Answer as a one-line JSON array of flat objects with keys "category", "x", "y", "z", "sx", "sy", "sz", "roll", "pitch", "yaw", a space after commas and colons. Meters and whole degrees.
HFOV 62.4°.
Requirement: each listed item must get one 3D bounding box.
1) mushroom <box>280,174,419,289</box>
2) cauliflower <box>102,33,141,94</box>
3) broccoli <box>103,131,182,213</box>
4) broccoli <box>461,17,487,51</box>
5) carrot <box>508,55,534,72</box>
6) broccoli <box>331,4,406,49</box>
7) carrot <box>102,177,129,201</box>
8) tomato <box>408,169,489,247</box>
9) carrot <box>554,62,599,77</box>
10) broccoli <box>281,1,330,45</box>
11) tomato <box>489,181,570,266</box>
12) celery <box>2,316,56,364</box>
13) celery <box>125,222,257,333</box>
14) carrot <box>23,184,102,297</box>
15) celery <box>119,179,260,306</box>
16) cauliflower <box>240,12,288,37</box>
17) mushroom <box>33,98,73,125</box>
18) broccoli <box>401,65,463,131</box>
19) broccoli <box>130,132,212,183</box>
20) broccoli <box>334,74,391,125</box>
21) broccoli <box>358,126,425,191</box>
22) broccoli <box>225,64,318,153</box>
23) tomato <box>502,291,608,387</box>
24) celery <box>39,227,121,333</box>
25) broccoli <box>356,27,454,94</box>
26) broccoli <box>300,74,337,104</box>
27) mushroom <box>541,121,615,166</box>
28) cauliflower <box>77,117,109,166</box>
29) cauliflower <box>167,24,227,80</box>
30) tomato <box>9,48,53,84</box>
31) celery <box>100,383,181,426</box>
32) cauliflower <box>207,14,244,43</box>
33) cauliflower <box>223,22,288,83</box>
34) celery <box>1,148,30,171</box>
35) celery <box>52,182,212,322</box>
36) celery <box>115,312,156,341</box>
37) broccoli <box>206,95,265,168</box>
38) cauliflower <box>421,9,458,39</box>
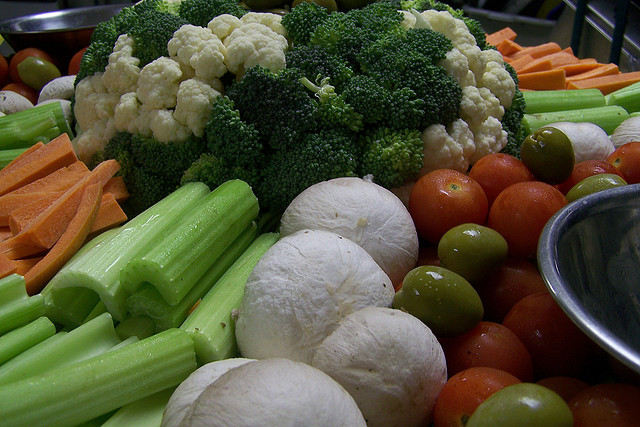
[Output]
[{"category": "mushroom", "x": 0.144, "y": 0.028, "z": 2.245, "sx": 0.469, "sy": 0.465, "sz": 0.274, "roll": 31, "pitch": 89, "yaw": 40}, {"category": "cauliflower", "x": -0.979, "y": -0.728, "z": 2.620, "sx": 0.178, "sy": 0.302, "sz": 0.120, "roll": -2, "pitch": -5, "yaw": 1}, {"category": "broccoli", "x": -0.939, "y": -0.160, "z": 2.788, "sx": 0.410, "sy": 0.243, "sz": 0.502, "roll": 21, "pitch": -8, "yaw": -16}, {"category": "broccoli", "x": 0.839, "y": -0.965, "z": 2.901, "sx": 0.066, "sy": 0.172, "sz": 0.136, "roll": -30, "pitch": 62, "yaw": -20}, {"category": "carrot", "x": 1.478, "y": -1.114, "z": 3.891, "sx": 0.185, "sy": 0.052, "sz": 0.176, "roll": -36, "pitch": 30, "yaw": -10}, {"category": "broccoli", "x": 0.252, "y": -0.933, "z": 2.661, "sx": 0.287, "sy": 0.152, "sz": 0.263, "roll": 17, "pitch": 14, "yaw": 34}, {"category": "carrot", "x": -1.013, "y": -0.124, "z": 2.641, "sx": 0.111, "sy": 0.031, "sz": 0.116, "roll": -2, "pitch": 61, "yaw": -44}, {"category": "tomato", "x": 0.525, "y": -0.073, "z": 2.331, "sx": 0.314, "sy": 0.334, "sz": 0.324, "roll": -7, "pitch": 13, "yaw": -38}, {"category": "carrot", "x": 1.887, "y": -1.059, "z": 3.882, "sx": 0.173, "sy": 0.054, "sz": 0.155, "roll": -31, "pitch": 14, "yaw": -26}, {"category": "broccoli", "x": -0.072, "y": -0.937, "z": 2.624, "sx": 0.203, "sy": 0.119, "sz": 0.202, "roll": -34, "pitch": 43, "yaw": 2}, {"category": "tomato", "x": 0.817, "y": 0.043, "z": 2.307, "sx": 0.318, "sy": 0.401, "sz": 0.327, "roll": 1, "pitch": 2, "yaw": -15}, {"category": "celery", "x": -1.099, "y": 0.463, "z": 2.085, "sx": 0.075, "sy": 0.089, "sz": 0.272, "roll": 34, "pitch": 40, "yaw": 21}, {"category": "celery", "x": -0.535, "y": 0.290, "z": 2.323, "sx": 0.211, "sy": 0.178, "sz": 0.651, "roll": 29, "pitch": 55, "yaw": 14}, {"category": "carrot", "x": -1.092, "y": 0.127, "z": 2.252, "sx": 0.120, "sy": 0.158, "sz": 0.548, "roll": 9, "pitch": 57, "yaw": 31}, {"category": "celery", "x": -0.537, "y": 0.124, "z": 2.317, "sx": 0.277, "sy": 0.244, "sz": 0.675, "roll": 27, "pitch": 45, "yaw": 12}, {"category": "cauliflower", "x": -0.268, "y": -0.957, "z": 2.616, "sx": 0.149, "sy": 0.059, "sz": 0.145, "roll": 16, "pitch": 34, "yaw": 1}, {"category": "mushroom", "x": -1.557, "y": -0.641, "z": 3.221, "sx": 0.203, "sy": 0.135, "sz": 0.232, "roll": -4, "pitch": -3, "yaw": 2}, {"category": "broccoli", "x": 0.553, "y": -0.580, "z": 2.502, "sx": 0.242, "sy": 0.165, "sz": 0.318, "roll": -33, "pitch": 79, "yaw": -31}, {"category": "broccoli", "x": -0.741, "y": -0.290, "z": 2.619, "sx": 0.295, "sy": 0.167, "sz": 0.234, "roll": 5, "pitch": 26, "yaw": 21}, {"category": "broccoli", "x": 0.208, "y": -0.575, "z": 2.554, "sx": 0.333, "sy": 0.192, "sz": 0.259, "roll": -3, "pitch": 20, "yaw": -40}, {"category": "broccoli", "x": 0.371, "y": -0.282, "z": 2.539, "sx": 0.208, "sy": 0.317, "sz": 0.375, "roll": -2, "pitch": 71, "yaw": 17}, {"category": "broccoli", "x": -0.206, "y": -0.498, "z": 2.417, "sx": 0.397, "sy": 0.217, "sz": 0.358, "roll": 27, "pitch": 6, "yaw": 18}, {"category": "tomato", "x": 0.946, "y": 0.454, "z": 2.079, "sx": 0.295, "sy": 0.366, "sz": 0.303, "roll": -25, "pitch": -5, "yaw": 19}, {"category": "celery", "x": -0.978, "y": 0.214, "z": 2.397, "sx": 0.287, "sy": 0.241, "sz": 0.668, "roll": 14, "pitch": 22, "yaw": -11}, {"category": "broccoli", "x": 0.410, "y": -0.783, "z": 2.532, "sx": 0.376, "sy": 0.151, "sz": 0.323, "roll": -46, "pitch": 51, "yaw": -6}, {"category": "broccoli", "x": -0.002, "y": -0.563, "z": 2.462, "sx": 0.148, "sy": 0.083, "sz": 0.111, "roll": 34, "pitch": 66, "yaw": 17}, {"category": "mushroom", "x": 1.362, "y": -0.388, "z": 2.777, "sx": 0.297, "sy": 0.189, "sz": 0.252, "roll": 2, "pitch": 5, "yaw": 22}, {"category": "cauliflower", "x": -1.189, "y": -0.374, "z": 2.761, "sx": 0.100, "sy": 0.184, "sz": 0.235, "roll": 24, "pitch": 67, "yaw": -12}, {"category": "cauliflower", "x": -0.576, "y": -0.771, "z": 2.507, "sx": 0.278, "sy": 0.224, "sz": 0.103, "roll": 37, "pitch": 28, "yaw": 19}, {"category": "tomato", "x": -2.152, "y": -1.082, "z": 3.942, "sx": 0.262, "sy": 0.269, "sz": 0.261, "roll": 16, "pitch": 12, "yaw": -17}, {"category": "celery", "x": -0.656, "y": 0.733, "z": 1.953, "sx": 0.081, "sy": 0.053, "sz": 0.351, "roll": 59, "pitch": 24, "yaw": 4}, {"category": "cauliflower", "x": -0.459, "y": -0.926, "z": 2.575, "sx": 0.124, "sy": 0.049, "sz": 0.126, "roll": -28, "pitch": 50, "yaw": -10}, {"category": "cauliflower", "x": -0.299, "y": -0.766, "z": 2.574, "sx": 0.262, "sy": 0.108, "sz": 0.280, "roll": -15, "pitch": 77, "yaw": 5}, {"category": "celery", "x": -1.530, "y": -0.270, "z": 2.664, "sx": 0.033, "sy": 0.038, "sz": 0.150, "roll": 11, "pitch": 40, "yaw": 42}, {"category": "celery", "x": -0.770, "y": 0.123, "z": 2.331, "sx": 0.335, "sy": 0.190, "sz": 0.638, "roll": 14, "pitch": 40, "yaw": 22}, {"category": "celery", "x": -0.756, "y": 0.447, "z": 2.163, "sx": 0.113, "sy": 0.117, "sz": 0.094, "roll": 2, "pitch": 1, "yaw": 15}, {"category": "broccoli", "x": -0.402, "y": -0.354, "z": 2.504, "sx": 0.152, "sy": 0.325, "sz": 0.245, "roll": -29, "pitch": 0, "yaw": 31}, {"category": "cauliflower", "x": 0.614, "y": -0.970, "z": 2.694, "sx": 0.076, "sy": 0.132, "sz": 0.165, "roll": -52, "pitch": 48, "yaw": -1}]
